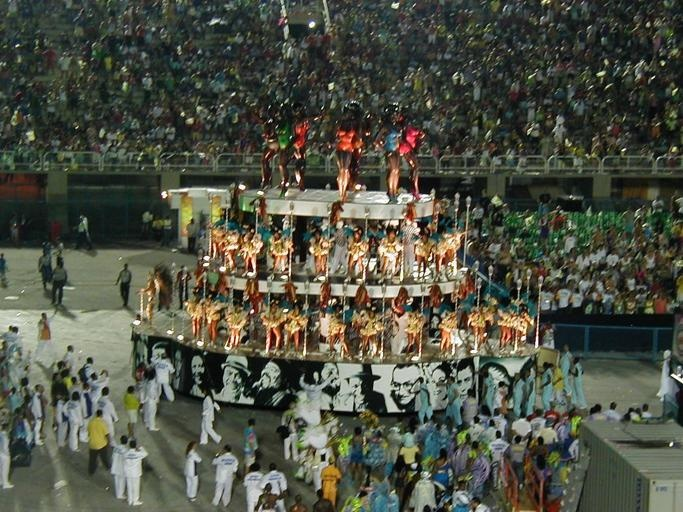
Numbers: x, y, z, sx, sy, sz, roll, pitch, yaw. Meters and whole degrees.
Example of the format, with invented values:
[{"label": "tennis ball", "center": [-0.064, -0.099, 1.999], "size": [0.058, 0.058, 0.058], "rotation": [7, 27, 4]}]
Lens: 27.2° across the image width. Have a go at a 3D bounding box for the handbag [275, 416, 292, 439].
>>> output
[{"label": "handbag", "center": [-1.595, 4.789, 38.887], "size": [0.149, 0.605, 0.402], "rotation": [8, 2, -32]}]
